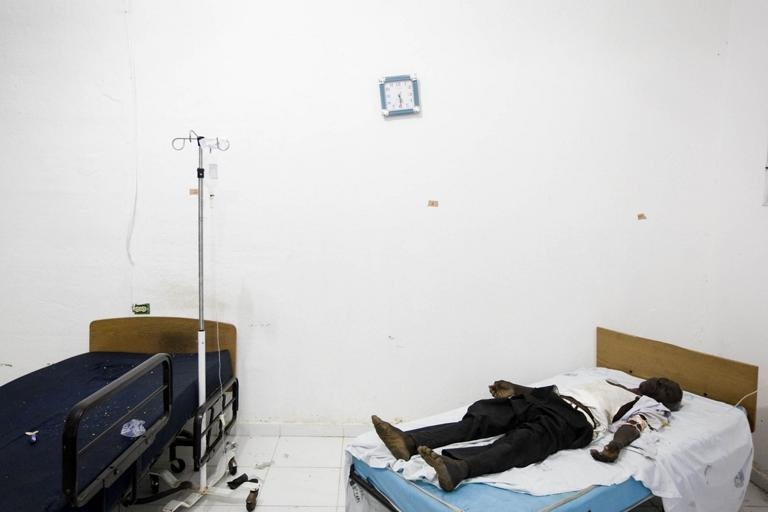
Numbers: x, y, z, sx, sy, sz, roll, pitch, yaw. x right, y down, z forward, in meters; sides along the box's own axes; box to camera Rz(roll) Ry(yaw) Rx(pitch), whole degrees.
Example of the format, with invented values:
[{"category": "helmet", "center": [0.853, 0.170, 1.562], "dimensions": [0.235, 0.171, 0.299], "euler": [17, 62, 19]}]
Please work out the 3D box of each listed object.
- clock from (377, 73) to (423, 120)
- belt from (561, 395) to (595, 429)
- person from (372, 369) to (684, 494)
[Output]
[{"category": "clock", "center": [0.128, -1.394, 4.951], "dimensions": [0.394, 0.402, 0.090], "euler": [-26, 0, 0]}, {"category": "belt", "center": [1.458, 1.172, 4.301], "dimensions": [0.058, 0.223, 0.163], "euler": [-42, 4, -34]}, {"category": "person", "center": [1.189, 1.246, 4.222], "dimensions": [1.739, 0.420, 0.956], "euler": [-14, 0, -19]}]
